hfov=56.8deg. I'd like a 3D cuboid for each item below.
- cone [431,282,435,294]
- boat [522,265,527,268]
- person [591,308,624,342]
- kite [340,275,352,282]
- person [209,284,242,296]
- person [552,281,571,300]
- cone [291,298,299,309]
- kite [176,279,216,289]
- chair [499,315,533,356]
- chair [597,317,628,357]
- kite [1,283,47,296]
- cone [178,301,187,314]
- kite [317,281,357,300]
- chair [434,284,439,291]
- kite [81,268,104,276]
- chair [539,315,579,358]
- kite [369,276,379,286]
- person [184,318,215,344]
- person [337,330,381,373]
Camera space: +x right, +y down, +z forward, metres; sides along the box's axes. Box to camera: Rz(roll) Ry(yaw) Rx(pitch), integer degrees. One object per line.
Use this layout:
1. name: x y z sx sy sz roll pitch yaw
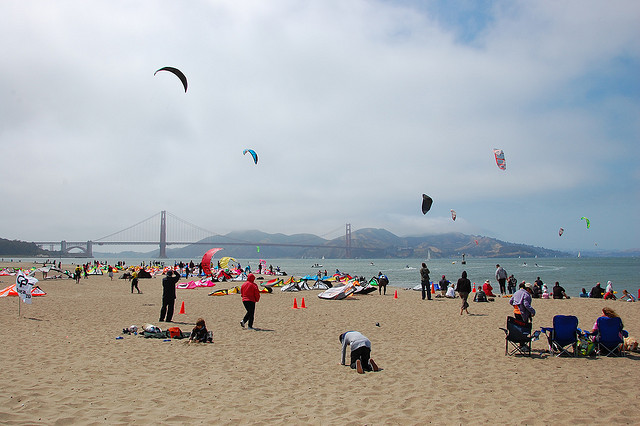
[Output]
1. cone: 6.996 4.661 36.627 0.202 0.640 0.545 0 0 7
2. boat: 42.041 11.028 121.685 0.990 0.325 0.982 1 -1 -24
3. person: 9.830 3.770 20.301 0.976 1.574 1.143 1 -3 19
4. kite: 1.979 5.060 45.457 0.931 0.522 1.417 2 6 4
5. person: -5.810 4.751 36.116 1.921 0.395 1.226 0 0 -18
6. person: 13.408 4.422 33.069 0.874 1.073 1.273 -3 7 28
7. cone: -1.280 4.524 29.559 0.349 0.496 0.361 1 3 37
8. kite: -8.895 5.152 42.659 2.514 1.005 3.625 4 -9 -11
9. chair: 6.703 4.099 20.252 1.356 1.675 1.203 2 -12 15
10. chair: 9.865 4.186 20.120 1.209 1.460 1.070 -3 2 32
11. kite: -15.651 4.103 30.954 1.673 0.601 2.246 0 0 -4
12. cone: -6.295 4.296 26.559 0.406 0.554 0.411 1 -3 -2
13. kite: 1.255 4.546 34.211 1.070 0.553 1.536 -7 2 40
14. chair: 7.398 4.721 37.694 0.343 0.236 0.344 -7 6 -11
15. kite: -22.129 5.785 57.372 1.715 0.633 1.354 -1 -2 5
16. chair: 8.174 4.141 19.930 0.984 1.347 0.531 0 0 17
17. kite: 3.662 4.539 39.676 0.616 0.169 0.636 14 18 33
18. person: -4.349 4.247 21.326 1.039 0.907 1.310 0 -8 -4
19. person: 1.127 4.409 18.873 1.510 1.179 0.542 0 0 35
